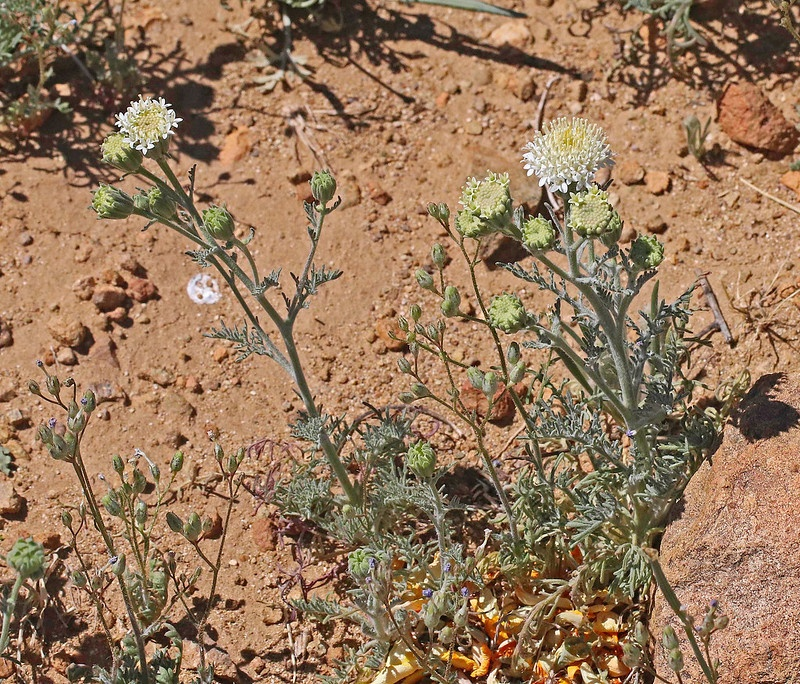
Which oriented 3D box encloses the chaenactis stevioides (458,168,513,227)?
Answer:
[{"bbox_3d":[0.336,-0.559,3.801,0.192,0.224,0.127,-8,-28,23],"label":"chaenactis stevioides"}]
